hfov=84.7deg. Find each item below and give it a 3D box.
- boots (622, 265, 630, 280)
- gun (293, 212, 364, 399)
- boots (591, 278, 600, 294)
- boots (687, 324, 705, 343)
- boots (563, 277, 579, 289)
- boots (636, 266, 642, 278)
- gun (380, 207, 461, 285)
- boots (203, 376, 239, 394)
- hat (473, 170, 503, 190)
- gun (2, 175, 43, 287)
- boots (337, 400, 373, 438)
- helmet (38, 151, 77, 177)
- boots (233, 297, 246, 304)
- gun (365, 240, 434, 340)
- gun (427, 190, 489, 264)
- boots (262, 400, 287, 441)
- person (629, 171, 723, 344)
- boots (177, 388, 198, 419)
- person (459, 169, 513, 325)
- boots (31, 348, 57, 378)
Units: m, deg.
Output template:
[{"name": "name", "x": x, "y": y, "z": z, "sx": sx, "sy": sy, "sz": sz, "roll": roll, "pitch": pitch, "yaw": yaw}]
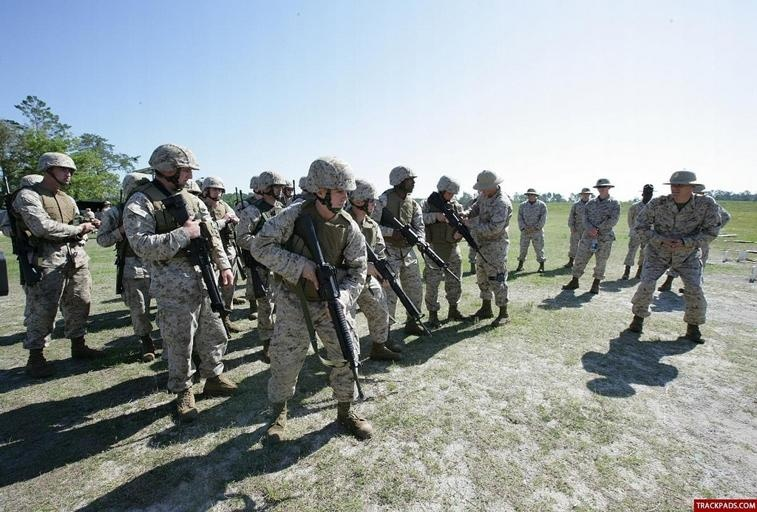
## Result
[{"name": "boots", "x": 6.843, "y": 0.483, "z": 11.542, "sx": 0.172, "sy": 0.337, "sz": 0.336, "roll": 6, "pitch": -17, "yaw": 8}, {"name": "gun", "x": -0.651, "y": 0.729, "z": 5.304, "sx": 0.822, "sy": 2.494, "sz": 0.712, "roll": 0, "pitch": 13, "yaw": 7}, {"name": "boots", "x": 5.270, "y": 0.730, "z": 10.141, "sx": 0.188, "sy": 0.348, "sz": 0.484, "roll": 5, "pitch": 14, "yaw": 29}, {"name": "boots", "x": 5.600, "y": 1.372, "z": 7.363, "sx": 0.274, "sy": 0.301, "sz": 0.292, "roll": 5, "pitch": 15, "yaw": 30}, {"name": "boots", "x": 4.837, "y": 0.696, "z": 10.432, "sx": 0.451, "sy": 0.308, "sz": 0.208, "roll": -5, "pitch": 13, "yaw": -14}, {"name": "boots", "x": 7.116, "y": 0.462, "z": 11.415, "sx": 0.090, "sy": 0.319, "sz": 0.183, "roll": -2, "pitch": -10, "yaw": 34}, {"name": "gun", "x": 0.765, "y": -0.199, "z": 7.822, "sx": 1.951, "sy": 0.506, "sz": 0.265, "roll": 40, "pitch": 18, "yaw": -13}, {"name": "boots", "x": -2.412, "y": 1.966, "z": 6.378, "sx": 0.526, "sy": 0.333, "sz": 0.248, "roll": -1, "pitch": 9, "yaw": -13}, {"name": "hat", "x": 2.117, "y": -1.465, "z": 8.182, "sx": 0.523, "sy": 0.416, "sz": 0.327, "roll": 1, "pitch": 13, "yaw": 15}, {"name": "gun", "x": -5.724, "y": -0.414, "z": 6.838, "sx": 0.557, "sy": 1.763, "sz": 1.019, "roll": -12, "pitch": 16, "yaw": -37}, {"name": "boots", "x": -0.322, "y": 2.150, "z": 5.562, "sx": 0.564, "sy": 0.378, "sz": 0.245, "roll": 16, "pitch": 22, "yaw": 26}, {"name": "helmet", "x": -5.404, "y": -1.575, "z": 6.989, "sx": 0.485, "sy": 0.320, "sz": 0.472, "roll": -11, "pitch": 15, "yaw": -36}, {"name": "boots", "x": -3.507, "y": 1.147, "z": 10.470, "sx": 0.334, "sy": 0.139, "sz": 0.116, "roll": -6, "pitch": 23, "yaw": -23}, {"name": "gun", "x": 0.363, "y": 0.600, "z": 7.392, "sx": 0.227, "sy": 2.047, "sz": 0.540, "roll": -33, "pitch": 8, "yaw": 30}, {"name": "gun", "x": 1.542, "y": -0.565, "z": 8.208, "sx": 0.592, "sy": 1.955, "sz": 0.210, "roll": -41, "pitch": -10, "yaw": 2}, {"name": "boots", "x": -1.344, "y": 2.193, "z": 5.508, "sx": 0.201, "sy": 0.371, "sz": 0.566, "roll": 8, "pitch": -2, "yaw": -11}, {"name": "person", "x": 5.422, "y": 0.009, "z": 7.723, "sx": 1.412, "sy": 3.021, "sz": 0.993, "roll": 5, "pitch": 8, "yaw": 35}, {"name": "boots", "x": -2.744, "y": 2.081, "z": 5.916, "sx": 0.197, "sy": 0.218, "sz": 0.570, "roll": -5, "pitch": 26, "yaw": -41}, {"name": "person", "x": 2.188, "y": -0.162, "z": 8.327, "sx": 0.858, "sy": 3.025, "sz": 1.163, "roll": -5, "pitch": 13, "yaw": -10}, {"name": "boots", "x": -5.481, "y": 1.765, "z": 6.786, "sx": 0.352, "sy": 0.456, "sz": 0.211, "roll": 0, "pitch": 13, "yaw": 10}]
